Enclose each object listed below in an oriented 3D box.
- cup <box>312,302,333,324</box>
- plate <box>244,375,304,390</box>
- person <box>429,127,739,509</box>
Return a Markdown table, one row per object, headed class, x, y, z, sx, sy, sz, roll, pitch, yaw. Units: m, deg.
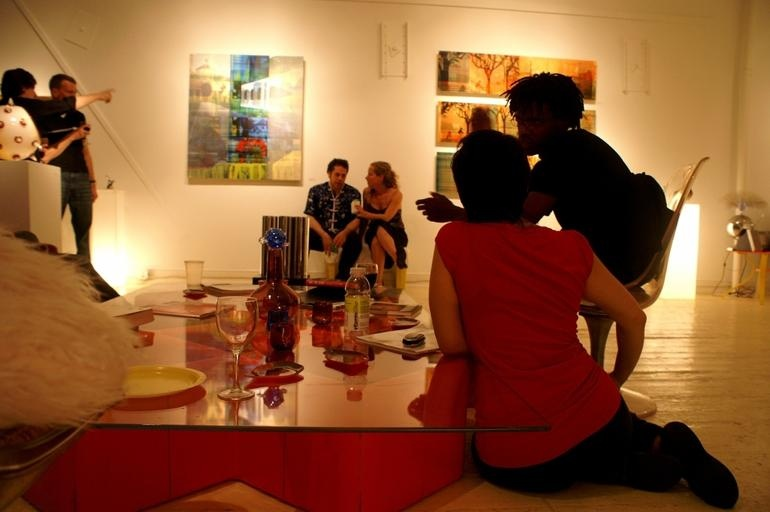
| class | x | y | z | sx | sy | sz | roll | pitch | yaw |
| --- | --- | --- | --- | --- | --- | --- | --- | --- | --- |
| cup | -0.314 | 0.287 | 3.099 | 0.102 | 0.099 | 0.102 | 0 | 1 | 0 |
| plate | -0.390 | 0.441 | 2.152 | 0.205 | 0.016 | 0.138 | 1 | 10 | -19 |
| person | 0.626 | 0.159 | 2.862 | 1.160 | 1.524 | 1.476 | -3 | 14 | -3 |
